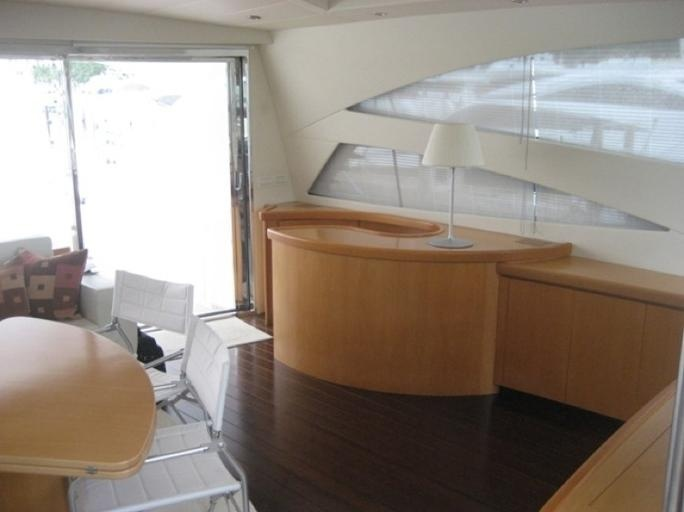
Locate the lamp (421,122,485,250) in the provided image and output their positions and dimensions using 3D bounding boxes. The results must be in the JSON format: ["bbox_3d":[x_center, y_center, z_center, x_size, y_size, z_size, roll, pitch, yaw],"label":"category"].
[{"bbox_3d":[0.894,-0.572,4.134,0.436,0.922,0.744,1,15,14],"label":"lamp"}]
